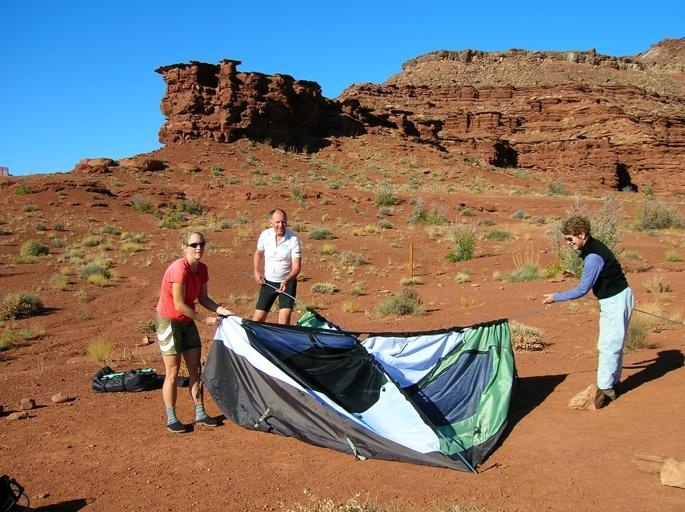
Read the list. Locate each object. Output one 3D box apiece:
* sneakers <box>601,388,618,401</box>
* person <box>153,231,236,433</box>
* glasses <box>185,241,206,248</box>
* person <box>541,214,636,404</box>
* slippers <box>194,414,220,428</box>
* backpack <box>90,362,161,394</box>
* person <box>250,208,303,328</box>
[{"bbox_3d":[3.268,1.701,7.430,0.080,0.111,0.140,-26,-12,5],"label":"sneakers"},{"bbox_3d":[-1.868,0.922,7.464,0.576,2.451,0.701,1,5,19],"label":"person"},{"bbox_3d":[-1.752,-0.136,7.234,0.211,0.090,0.099,-3,4,-25],"label":"glasses"},{"bbox_3d":[3.069,0.674,7.334,0.812,2.339,0.443,1,5,18],"label":"person"},{"bbox_3d":[-1.686,2.077,7.623,0.262,0.109,0.151,2,6,6],"label":"slippers"},{"bbox_3d":[-3.107,1.793,8.701,0.586,0.251,0.482,2,-2,10],"label":"backpack"},{"bbox_3d":[-0.965,0.175,8.926,0.705,1.743,1.089,-2,5,-6],"label":"person"}]
